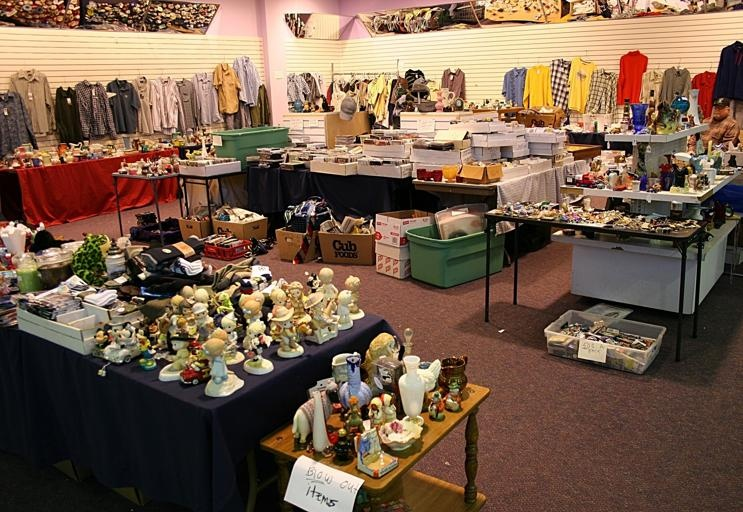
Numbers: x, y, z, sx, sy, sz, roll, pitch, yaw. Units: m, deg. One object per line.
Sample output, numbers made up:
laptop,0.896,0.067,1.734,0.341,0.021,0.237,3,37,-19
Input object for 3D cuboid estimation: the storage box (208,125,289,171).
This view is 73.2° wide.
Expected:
storage box,-1.864,-1.734,7.966,1.088,0.505,0.685,-13,17,-42

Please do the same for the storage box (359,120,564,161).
storage box,1.253,-1.492,6.756,2.587,0.589,1.375,0,20,16

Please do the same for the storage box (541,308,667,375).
storage box,1.930,0.715,4.219,0.718,0.201,0.575,9,19,37

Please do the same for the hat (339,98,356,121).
hat,-0.448,-2.698,9.215,0.292,0.427,0.223,18,1,-1

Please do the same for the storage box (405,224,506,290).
storage box,0.976,-0.029,5.874,1.084,0.531,0.739,-11,14,-36

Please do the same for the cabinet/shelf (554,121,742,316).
cabinet/shelf,2.893,-0.760,5.505,1.689,2.242,2.574,6,15,34

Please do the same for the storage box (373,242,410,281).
storage box,0.236,0.051,5.875,0.419,0.402,0.183,6,23,31

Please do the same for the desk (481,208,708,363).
desk,2.007,0.168,4.715,1.757,0.951,0.685,9,12,38
